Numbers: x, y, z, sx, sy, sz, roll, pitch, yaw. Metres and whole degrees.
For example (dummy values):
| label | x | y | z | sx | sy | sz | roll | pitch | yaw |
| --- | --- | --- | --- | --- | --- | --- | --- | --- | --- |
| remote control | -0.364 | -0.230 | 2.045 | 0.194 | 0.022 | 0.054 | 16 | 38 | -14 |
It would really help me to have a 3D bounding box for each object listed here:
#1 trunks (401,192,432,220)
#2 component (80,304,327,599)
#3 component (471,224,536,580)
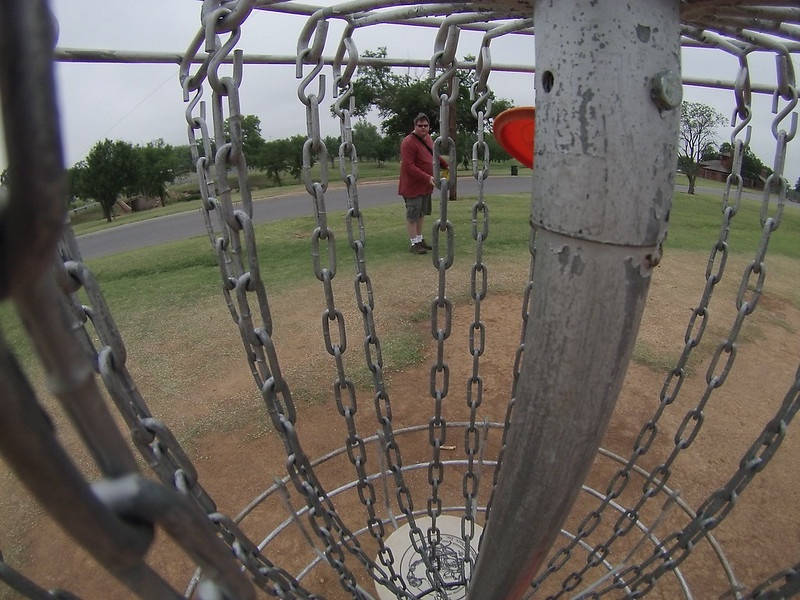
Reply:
| label | x | y | z | sx | sy | sz | roll | pitch | yaw |
| --- | --- | --- | --- | --- | --- | --- | --- | --- | --- |
| trunks | 0.292 | -1.521 | 8.822 | 0.330 | 0.658 | 0.464 | 10 | 25 | 29 |
| component | -0.965 | 0.805 | 2.966 | 0.254 | 2.403 | 0.303 | -18 | 32 | -18 |
| component | 0.626 | 0.560 | 3.446 | 0.100 | 2.814 | 0.127 | 8 | -3 | 10 |
